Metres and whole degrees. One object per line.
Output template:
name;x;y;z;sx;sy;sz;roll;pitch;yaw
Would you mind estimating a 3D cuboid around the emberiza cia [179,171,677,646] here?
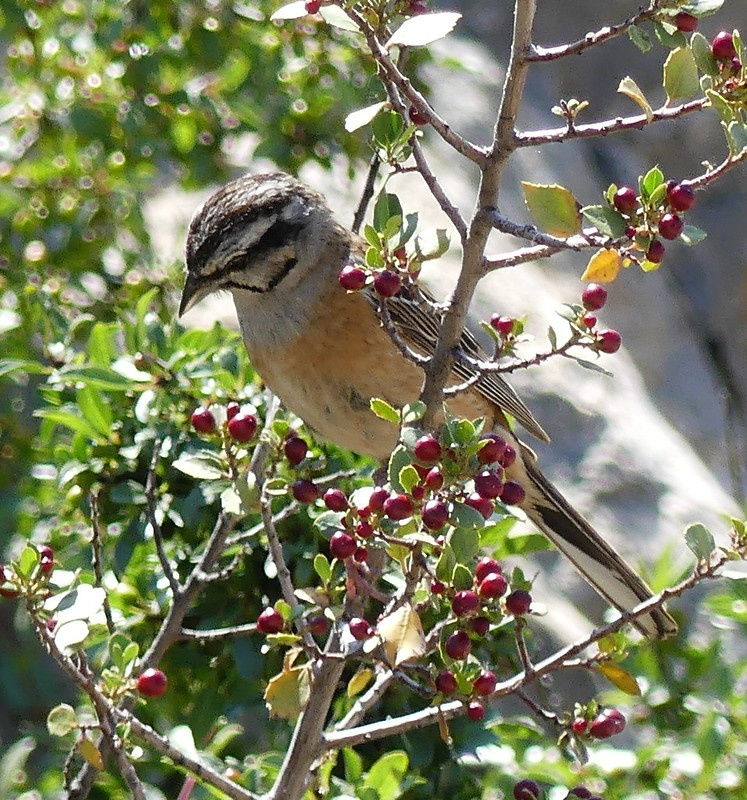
emberiza cia;0.115;-0.139;3.485;1.602;0.490;0.974;-4;-77;-38
